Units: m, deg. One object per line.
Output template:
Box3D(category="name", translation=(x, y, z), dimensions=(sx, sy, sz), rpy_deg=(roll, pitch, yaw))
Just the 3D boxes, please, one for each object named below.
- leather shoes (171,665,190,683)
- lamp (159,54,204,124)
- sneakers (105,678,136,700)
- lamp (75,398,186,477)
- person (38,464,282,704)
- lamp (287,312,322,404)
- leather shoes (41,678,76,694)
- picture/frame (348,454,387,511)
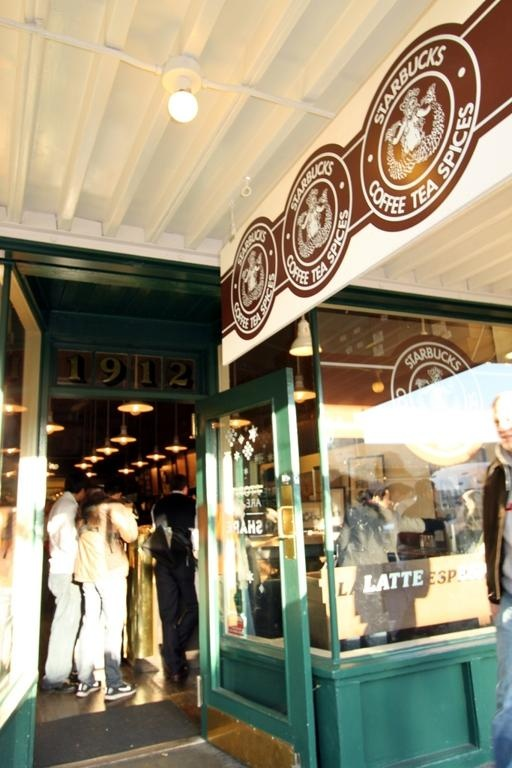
Box3D(category="leather shoes", translation=(-0.614, 2.362, 4.286), dimensions=(0.058, 0.080, 0.177), rpy_deg=(0, -4, 5))
Box3D(category="lamp", translation=(-0.229, -0.903, 1.631), dimensions=(0.101, 0.185, 0.108), rpy_deg=(-2, 2, 2))
Box3D(category="sneakers", translation=(-0.984, 2.245, 3.901), dimensions=(0.236, 0.120, 0.094), rpy_deg=(8, -14, -36))
Box3D(category="lamp", translation=(-2.378, 0.976, 10.002), dimensions=(1.434, 1.748, 1.462), rpy_deg=(0, -29, -4))
Box3D(category="person", translation=(-1.177, 1.578, 4.314), dimensions=(1.086, 1.690, 0.746), rpy_deg=(-2, -13, -6))
Box3D(category="lamp", translation=(0.264, -0.147, 3.020), dimensions=(0.207, 0.514, 0.092), rpy_deg=(-14, -17, 37))
Box3D(category="leather shoes", translation=(-1.549, 2.356, 4.130), dimensions=(0.262, 0.093, 0.291), rpy_deg=(1, -15, -19))
Box3D(category="picture/frame", translation=(0.596, 0.546, 2.874), dimensions=(0.257, 0.378, 0.025), rpy_deg=(5, -16, -25))
